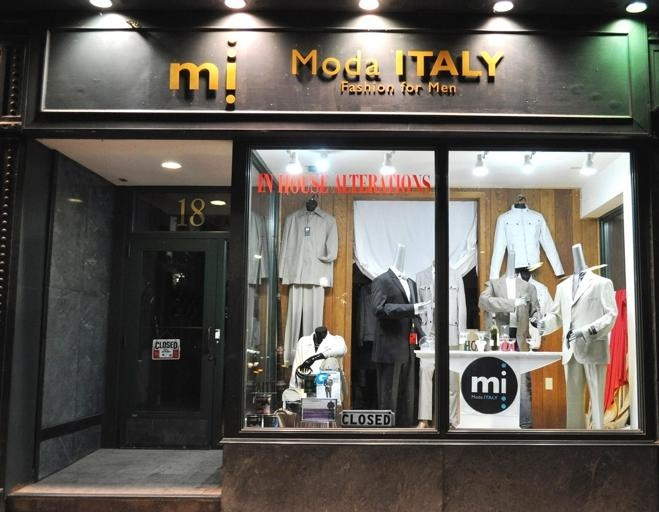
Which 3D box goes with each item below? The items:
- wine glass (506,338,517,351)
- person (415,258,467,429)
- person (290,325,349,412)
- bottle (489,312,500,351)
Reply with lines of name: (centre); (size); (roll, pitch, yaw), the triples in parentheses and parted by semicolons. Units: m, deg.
wine glass: (1.307, 0.644, 5.053); (0.056, 0.099, 0.035); (0, -38, 10)
person: (0.787, 0.640, 5.111); (0.363, 1.274, 0.236); (2, 14, 9)
person: (-0.086, 0.872, 5.320); (0.555, 0.880, 0.450); (0, -15, 0)
bottle: (1.190, 0.562, 5.056); (0.054, 0.225, 0.020); (1, 0, -2)
